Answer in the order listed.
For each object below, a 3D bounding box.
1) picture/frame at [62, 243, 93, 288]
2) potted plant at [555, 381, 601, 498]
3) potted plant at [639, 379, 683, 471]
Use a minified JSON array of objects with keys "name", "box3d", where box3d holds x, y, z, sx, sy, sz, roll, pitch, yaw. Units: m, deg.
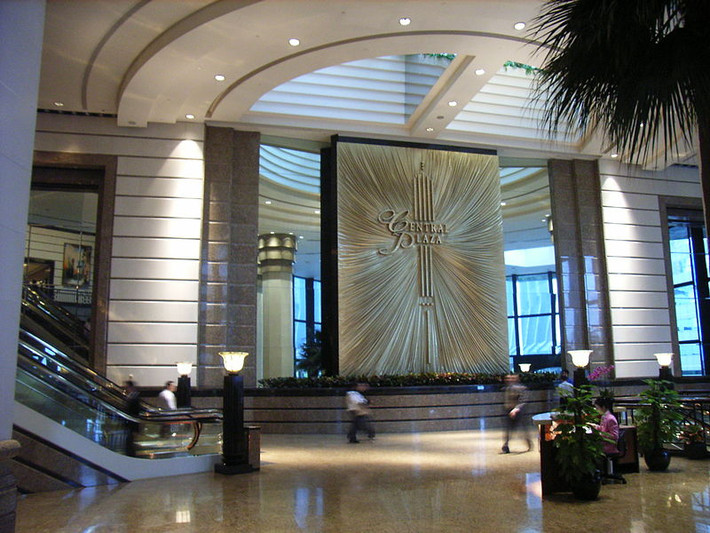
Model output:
[{"name":"picture/frame","box3d":[-6.016,-0.029,12.958,0.095,1.047,0.661,1,-3,34]},{"name":"potted plant","box3d":[2.670,2.097,7.125,0.531,1.279,0.389,-3,-7,18]},{"name":"potted plant","box3d":[4.485,2.329,8.718,0.515,1.236,0.552,26,-34,-16]}]
